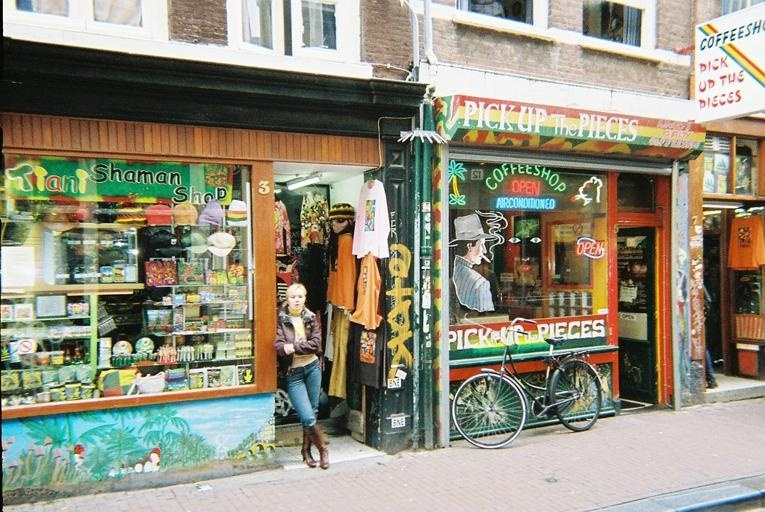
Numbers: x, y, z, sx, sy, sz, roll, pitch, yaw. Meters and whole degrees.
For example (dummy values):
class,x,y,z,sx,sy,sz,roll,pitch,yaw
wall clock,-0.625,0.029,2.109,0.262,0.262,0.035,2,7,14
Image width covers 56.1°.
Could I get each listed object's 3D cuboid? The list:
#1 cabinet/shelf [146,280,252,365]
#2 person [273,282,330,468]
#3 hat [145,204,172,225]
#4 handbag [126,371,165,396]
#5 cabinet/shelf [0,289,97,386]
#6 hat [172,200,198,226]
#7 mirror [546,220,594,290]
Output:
class,x,y,z,sx,sy,sz,roll,pitch,yaw
cabinet/shelf,-2.445,0.890,9.306,1.136,0.806,0.358,0,0,-12
person,-1.076,1.593,9.464,0.683,2.369,0.730,-1,10,-6
hat,-2.867,-0.513,9.237,0.409,0.353,0.223,0,11,-15
handbag,-2.952,1.607,9.012,0.331,0.219,0.256,-4,-4,-9
cabinet/shelf,-4.143,1.018,8.745,1.311,1.195,0.418,-1,2,-13
hat,-2.572,-0.534,9.310,0.290,0.288,0.309,3,6,12
mirror,2.874,-0.016,11.150,1.131,1.486,0.061,0,-1,-29
